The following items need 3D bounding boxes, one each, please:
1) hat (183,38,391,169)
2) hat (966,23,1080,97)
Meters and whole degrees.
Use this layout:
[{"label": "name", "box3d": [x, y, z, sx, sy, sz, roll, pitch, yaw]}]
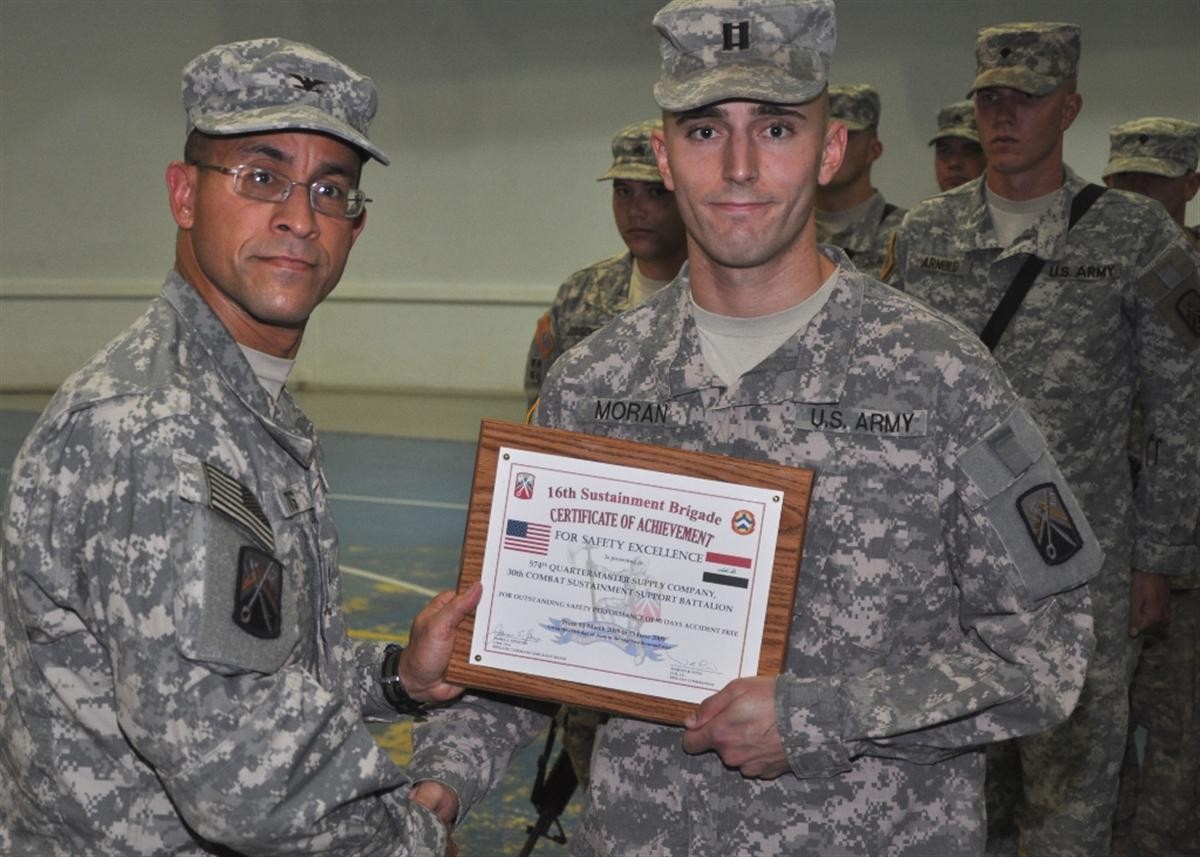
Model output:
[{"label": "hat", "box3d": [-0.865, -0.897, 3.565, 0.356, 0.220, 0.421, 11, -5, -34]}, {"label": "hat", "box3d": [1.678, -1.420, 5.322, 0.306, 0.216, 0.418, 3, 7, 36]}]
